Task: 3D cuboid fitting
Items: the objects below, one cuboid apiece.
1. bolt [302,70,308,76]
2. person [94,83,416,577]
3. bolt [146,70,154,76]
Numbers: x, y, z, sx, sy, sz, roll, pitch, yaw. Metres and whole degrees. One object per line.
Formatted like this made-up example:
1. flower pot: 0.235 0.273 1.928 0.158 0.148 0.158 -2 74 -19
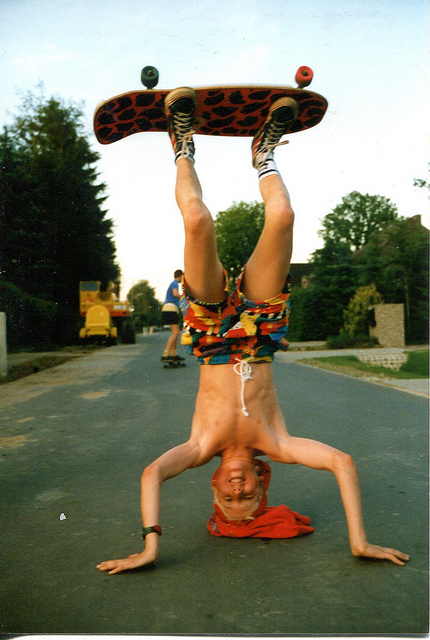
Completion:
1. bolt: 0.434 -1.187 3.077 0.024 0.032 0.014 1 2 3
2. person: 0.172 0.014 3.209 1.393 2.250 0.614 0 1 -5
3. bolt: -0.311 -1.188 3.078 0.037 0.030 0.009 1 2 3
